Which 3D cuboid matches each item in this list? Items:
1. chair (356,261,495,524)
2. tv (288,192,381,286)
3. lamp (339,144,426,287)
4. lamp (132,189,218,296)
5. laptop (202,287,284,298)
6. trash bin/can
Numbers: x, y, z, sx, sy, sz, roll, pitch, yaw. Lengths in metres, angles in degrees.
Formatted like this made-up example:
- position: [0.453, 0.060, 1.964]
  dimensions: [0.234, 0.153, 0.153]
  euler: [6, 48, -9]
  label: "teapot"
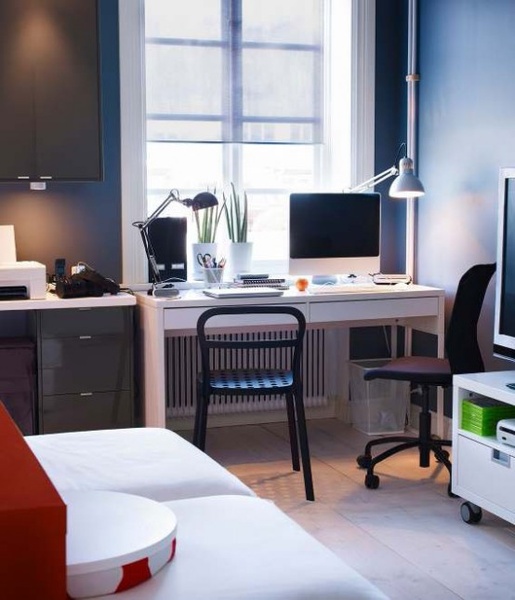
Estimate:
- position: [0.781, 0.318, 2.708]
  dimensions: [0.578, 1.077, 0.562]
  euler: [-1, 8, -41]
  label: "chair"
- position: [0.424, -0.354, 3.202]
  dimensions: [0.409, 0.456, 0.046]
  euler: [-1, 3, -18]
  label: "tv"
- position: [0.648, -0.615, 3.217]
  dimensions: [0.169, 0.393, 0.536]
  euler: [-13, 21, -42]
  label: "lamp"
- position: [-0.451, -0.318, 2.996]
  dimensions: [0.361, 0.491, 0.686]
  euler: [-1, 3, -19]
  label: "lamp"
- position: [-0.072, -0.039, 2.814]
  dimensions: [0.368, 0.047, 0.271]
  euler: [-1, 4, -17]
  label: "laptop"
- position: [0.654, 0.545, 3.447]
  dimensions: [0.346, 0.546, 0.360]
  euler: [-1, 8, -4]
  label: "trash bin/can"
